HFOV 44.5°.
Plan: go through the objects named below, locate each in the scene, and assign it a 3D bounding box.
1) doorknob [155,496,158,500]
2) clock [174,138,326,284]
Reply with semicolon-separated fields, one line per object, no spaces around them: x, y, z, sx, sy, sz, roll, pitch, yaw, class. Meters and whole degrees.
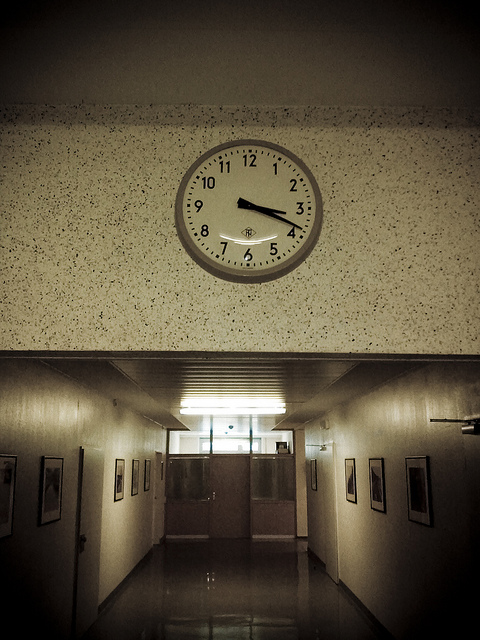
-1.661;3.510;11.628;0.028;0.039;0.065;-9;-16;39;doorknob
0.029;-0.370;2.110;0.292;0.475;0.032;6;-5;6;clock
